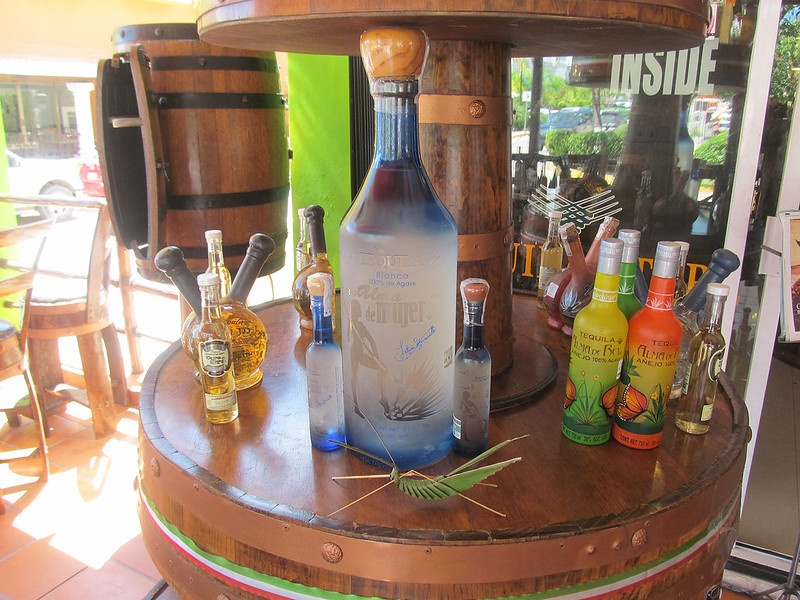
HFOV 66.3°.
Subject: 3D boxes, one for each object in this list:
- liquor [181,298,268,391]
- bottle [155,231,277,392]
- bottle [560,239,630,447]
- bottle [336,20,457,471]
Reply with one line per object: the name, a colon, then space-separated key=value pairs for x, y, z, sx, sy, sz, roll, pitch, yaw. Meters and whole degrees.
liquor: x=-0.317 y=0.085 z=1.102 sx=0.106 sy=0.255 sz=0.115 roll=-3 pitch=32 yaw=-1
bottle: x=-0.335 y=0.020 z=1.174 sx=0.213 sy=0.291 sz=0.157 roll=-10 pitch=28 yaw=-24
bottle: x=0.312 y=0.067 z=0.970 sx=0.087 sy=0.347 sz=0.086 roll=-1 pitch=25 yaw=1
bottle: x=-0.004 y=-0.056 z=0.885 sx=0.167 sy=0.628 sz=0.092 roll=-2 pitch=6 yaw=-7
